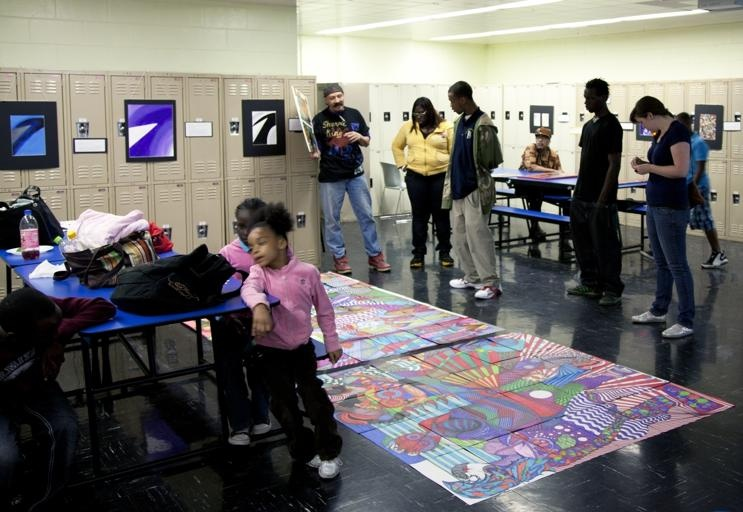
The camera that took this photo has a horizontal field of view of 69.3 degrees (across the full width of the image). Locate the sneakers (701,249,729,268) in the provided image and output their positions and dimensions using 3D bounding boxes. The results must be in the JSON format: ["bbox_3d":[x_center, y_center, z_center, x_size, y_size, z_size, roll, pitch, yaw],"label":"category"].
[{"bbox_3d":[4.933,0.046,7.667,0.597,0.214,0.177,-8,8,-18],"label":"sneakers"}]

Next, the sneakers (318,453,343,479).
[{"bbox_3d":[-0.239,1.258,3.260,0.091,0.059,0.171,3,12,10],"label":"sneakers"}]

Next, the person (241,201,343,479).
[{"bbox_3d":[-0.467,0.449,3.236,0.539,1.487,0.526,-5,15,-3],"label":"person"}]

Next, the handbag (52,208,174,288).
[{"bbox_3d":[-1.816,-0.070,3.926,0.679,0.280,0.730,5,9,24],"label":"handbag"}]

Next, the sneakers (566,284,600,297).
[{"bbox_3d":[2.558,0.402,6.463,0.353,0.132,0.135,12,13,31],"label":"sneakers"}]

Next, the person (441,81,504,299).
[{"bbox_3d":[1.239,-0.752,6.302,0.461,2.499,0.613,-10,16,-18],"label":"person"}]

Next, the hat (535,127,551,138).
[{"bbox_3d":[3.014,-2.126,9.317,0.238,0.193,0.338,-1,13,12],"label":"hat"}]

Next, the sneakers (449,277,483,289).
[{"bbox_3d":[1.207,0.343,6.787,0.392,0.131,0.129,5,6,10],"label":"sneakers"}]

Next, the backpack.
[{"bbox_3d":[-1.145,0.136,3.184,0.624,0.218,0.403,-13,31,-24],"label":"backpack"}]

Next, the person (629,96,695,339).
[{"bbox_3d":[2.812,-0.359,5.103,0.642,2.272,0.564,0,16,18],"label":"person"}]

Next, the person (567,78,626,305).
[{"bbox_3d":[2.543,-0.675,5.958,0.415,2.457,0.600,-11,16,-23],"label":"person"}]

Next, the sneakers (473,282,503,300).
[{"bbox_3d":[1.405,0.420,6.455,0.395,0.144,0.138,-3,2,-39],"label":"sneakers"}]

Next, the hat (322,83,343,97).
[{"bbox_3d":[-0.508,-2.258,7.331,0.221,0.191,0.350,-3,12,2],"label":"hat"}]

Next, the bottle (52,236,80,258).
[{"bbox_3d":[-2.330,-0.070,4.111,0.140,0.217,0.145,-5,25,2],"label":"bottle"}]

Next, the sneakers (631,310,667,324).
[{"bbox_3d":[2.860,0.627,5.550,0.385,0.119,0.126,0,4,3],"label":"sneakers"}]

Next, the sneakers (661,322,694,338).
[{"bbox_3d":[2.949,0.708,5.166,0.335,0.096,0.129,-2,2,-17],"label":"sneakers"}]
